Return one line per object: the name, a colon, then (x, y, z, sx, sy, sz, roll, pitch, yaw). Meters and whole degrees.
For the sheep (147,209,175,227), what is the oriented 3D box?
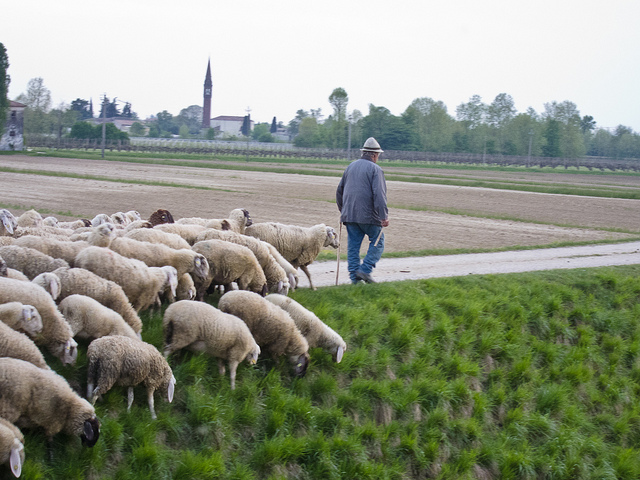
sheep: (-3.732, -0.536, 13.249, 0.598, 0.206, 0.442, -2, 9, -35)

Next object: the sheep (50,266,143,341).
sheep: (-3.049, 0.870, 7.542, 1.254, 0.651, 0.379, 34, 7, -8)

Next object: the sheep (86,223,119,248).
sheep: (-3.559, -0.087, 9.366, 0.380, 0.252, 0.497, 9, 16, 30)

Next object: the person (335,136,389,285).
person: (1.038, -0.669, 12.713, 0.860, 3.303, 1.464, -1, 10, -29)

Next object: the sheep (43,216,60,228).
sheep: (-6.105, -0.424, 12.830, 0.258, 0.221, 0.437, 1, 0, 24)

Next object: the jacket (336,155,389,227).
jacket: (0.997, -1.133, 12.773, 1.185, 1.614, 0.753, 5, 9, 13)

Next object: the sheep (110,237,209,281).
sheep: (-2.804, 0.448, 9.483, 1.772, 0.743, 0.464, 12, -1, -17)

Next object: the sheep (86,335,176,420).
sheep: (-2.324, 1.747, 6.922, 0.611, 0.831, 1.330, -14, -26, 30)

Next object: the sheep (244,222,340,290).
sheep: (-0.689, 0.410, 12.659, 2.834, 1.457, 0.823, 3, -3, -40)

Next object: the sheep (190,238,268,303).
sheep: (-1.690, 0.625, 9.890, 0.819, 1.122, 1.890, -2, -8, 38)

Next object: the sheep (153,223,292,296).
sheep: (-1.786, 0.375, 9.972, 2.248, 1.046, 0.561, 27, -6, -2)

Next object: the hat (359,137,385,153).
hat: (1.200, -2.161, 12.993, 0.577, 0.242, 0.517, 6, 5, 1)
